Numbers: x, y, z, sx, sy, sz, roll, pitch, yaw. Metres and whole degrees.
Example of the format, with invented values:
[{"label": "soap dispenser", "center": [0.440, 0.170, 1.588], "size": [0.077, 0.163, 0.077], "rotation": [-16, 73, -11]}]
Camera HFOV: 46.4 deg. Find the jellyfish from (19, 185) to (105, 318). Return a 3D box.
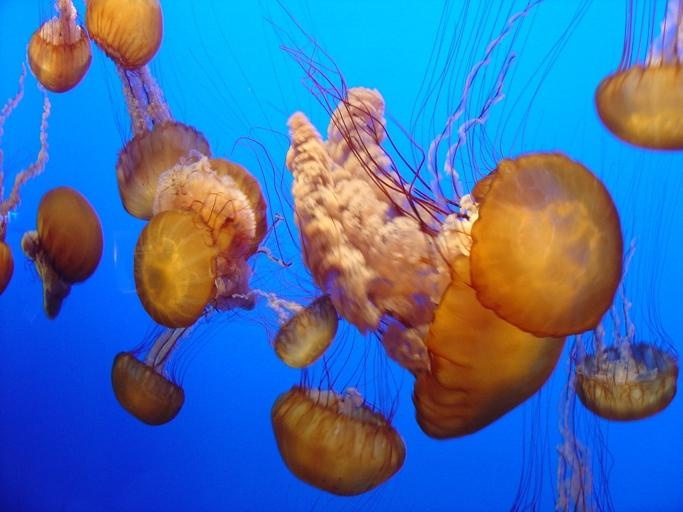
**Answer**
[{"label": "jellyfish", "center": [-1.144, -0.015, 3.272], "size": [0.283, 0.573, 0.285], "rotation": [6, -10, 22]}]
